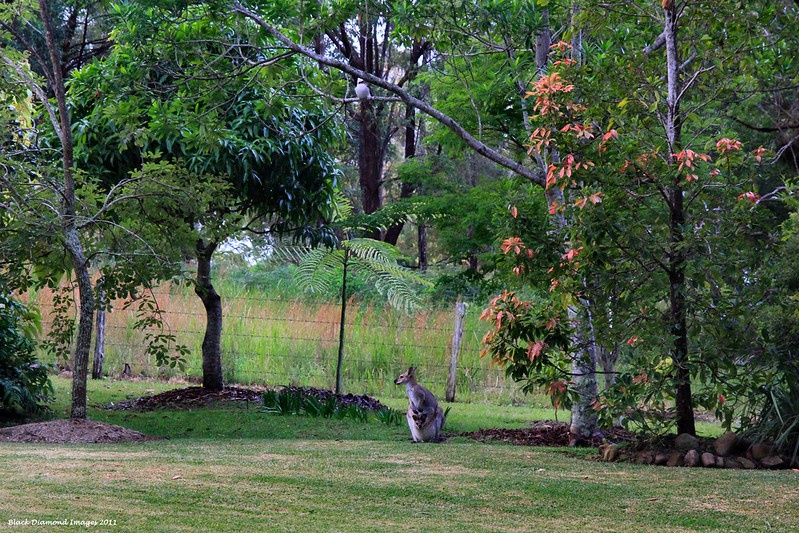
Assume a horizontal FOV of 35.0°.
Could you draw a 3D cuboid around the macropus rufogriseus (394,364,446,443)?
[{"bbox_3d":[0.352,1.931,17.753,0.499,1.053,0.772,1,-7,0],"label":"macropus rufogriseus"}]
